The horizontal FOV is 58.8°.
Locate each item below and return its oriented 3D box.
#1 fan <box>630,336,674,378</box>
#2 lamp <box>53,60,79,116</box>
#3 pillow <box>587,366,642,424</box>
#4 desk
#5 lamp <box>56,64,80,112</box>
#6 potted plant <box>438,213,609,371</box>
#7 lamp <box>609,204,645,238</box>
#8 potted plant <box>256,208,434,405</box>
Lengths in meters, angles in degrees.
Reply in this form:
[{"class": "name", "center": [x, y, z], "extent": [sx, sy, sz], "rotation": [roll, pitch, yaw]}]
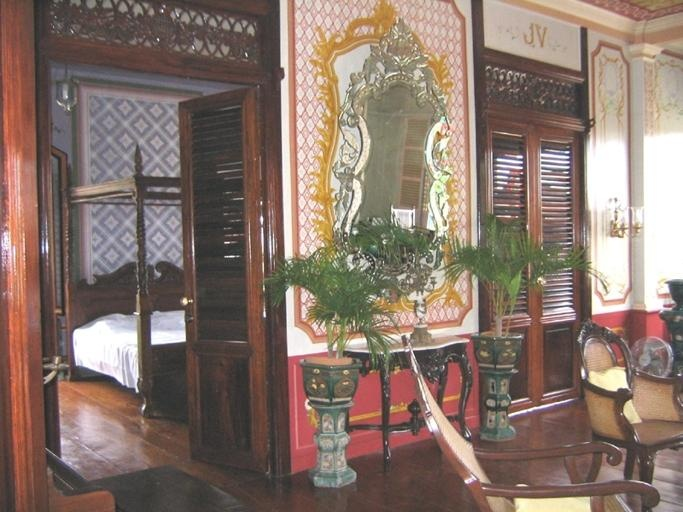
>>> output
[{"class": "fan", "center": [2.414, 0.768, 4.686], "extent": [0.204, 0.263, 0.220], "rotation": [18, -19, 1]}, {"class": "lamp", "center": [-2.714, -1.683, 5.975], "extent": [0.168, 0.519, 0.194], "rotation": [4, 6, 43]}, {"class": "pillow", "center": [1.806, 0.949, 4.091], "extent": [0.340, 0.362, 0.099], "rotation": [2, -16, -44]}, {"class": "desk", "center": [0.570, 1.088, 4.716], "extent": [1.074, 0.915, 0.536], "rotation": [-1, 2, -33]}, {"class": "lamp", "center": [-2.719, -1.680, 5.978], "extent": [0.260, 0.481, 0.270], "rotation": [-2, 4, -24]}, {"class": "potted plant", "center": [1.501, 0.217, 5.039], "extent": [1.257, 0.907, 1.106], "rotation": [-6, 4, -41]}, {"class": "lamp", "center": [3.111, -0.387, 6.573], "extent": [0.438, 0.361, 0.149], "rotation": [-2, 2, -25]}, {"class": "potted plant", "center": [0.013, 0.279, 4.567], "extent": [0.966, 0.872, 1.365], "rotation": [-4, -6, 40]}]
